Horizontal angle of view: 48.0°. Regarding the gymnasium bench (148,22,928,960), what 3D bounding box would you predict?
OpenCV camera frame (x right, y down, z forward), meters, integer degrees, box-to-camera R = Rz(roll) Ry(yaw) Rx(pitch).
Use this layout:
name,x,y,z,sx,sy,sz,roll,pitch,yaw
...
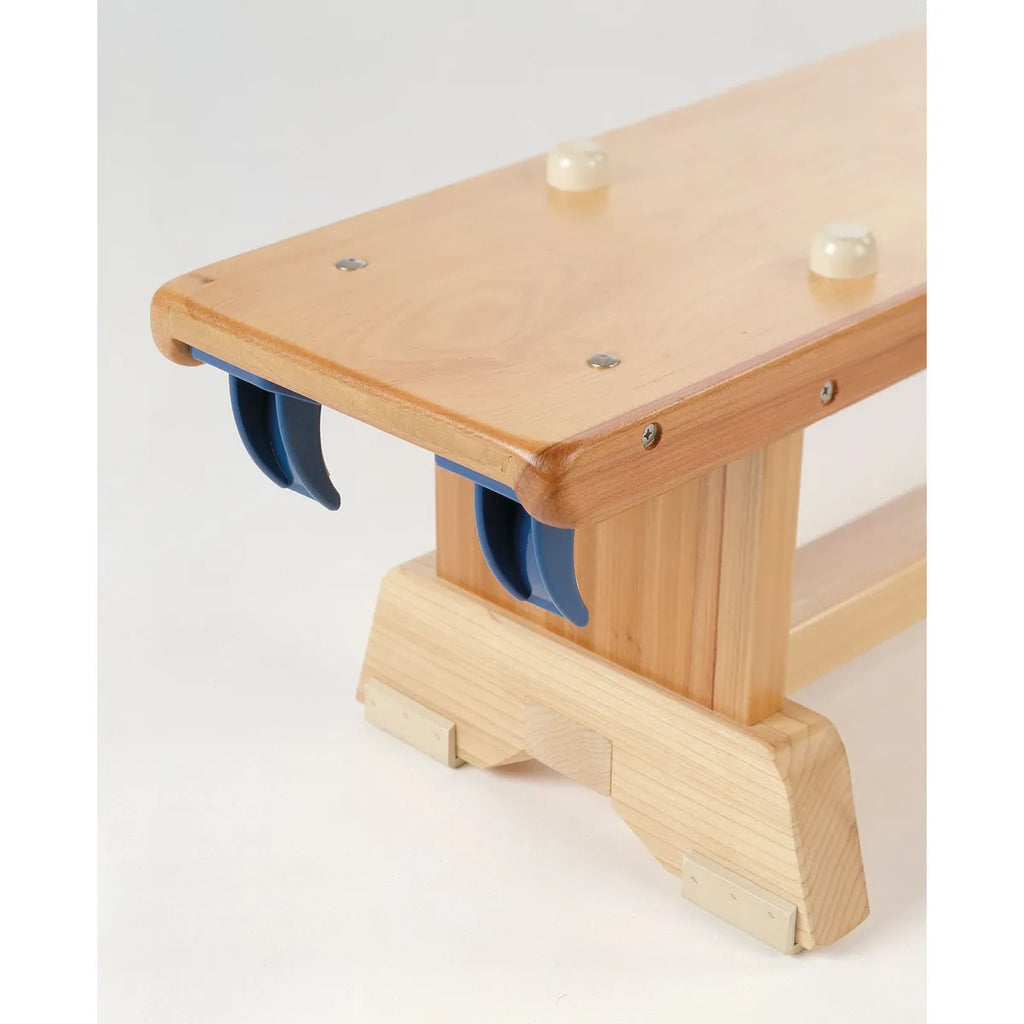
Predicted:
name,x,y,z,sx,sy,sz,roll,pitch,yaw
gymnasium bench,0.207,-0.031,0.735,0.688,0.345,0.346,-25,37,-32
